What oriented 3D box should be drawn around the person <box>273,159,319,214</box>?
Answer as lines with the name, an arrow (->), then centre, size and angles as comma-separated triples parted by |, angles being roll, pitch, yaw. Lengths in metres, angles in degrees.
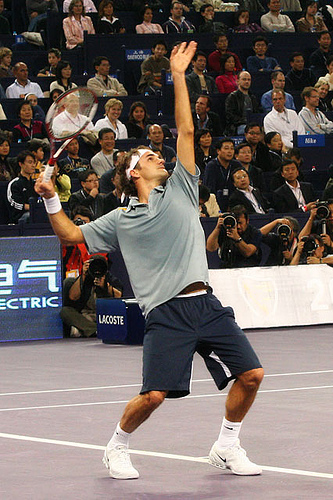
person -> 2.594, -1.187, 11.466 | 0.922, 1.282, 0.986 | -7, 13, 17

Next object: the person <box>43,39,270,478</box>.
person -> -0.056, 0.010, 2.632 | 0.936, 1.922, 0.456 | -2, -1, 5

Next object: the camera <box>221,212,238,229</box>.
camera -> 1.015, -0.478, 9.089 | 0.231, 0.263, 0.283 | 0, 0, 5

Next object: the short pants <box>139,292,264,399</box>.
short pants -> 0.145, 0.430, 2.557 | 0.549, 0.449, 0.288 | -2, -1, -3

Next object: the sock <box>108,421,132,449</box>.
sock -> -0.228, 0.853, 2.561 | 0.083, 0.108, 0.087 | -2, -1, -25

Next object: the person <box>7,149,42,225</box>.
person -> -2.719, -1.165, 10.380 | 0.543, 1.212, 0.668 | -2, -1, -11

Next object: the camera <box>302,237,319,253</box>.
camera -> 2.478, -0.093, 9.679 | 0.229, 0.265, 0.383 | -2, -1, 20

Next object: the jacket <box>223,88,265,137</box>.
jacket -> 2.061, -3.630, 14.432 | 1.169, 1.109, 1.102 | -8, 19, -7

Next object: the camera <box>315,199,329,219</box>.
camera -> 2.685, -0.718, 9.715 | 0.221, 0.287, 0.307 | 1, 3, 7

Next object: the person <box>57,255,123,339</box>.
person -> -1.264, 0.720, 8.947 | 1.065, 1.233, 0.810 | 1, 5, -39

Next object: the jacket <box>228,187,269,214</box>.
jacket -> 1.553, -0.959, 10.863 | 0.682, 0.587, 0.364 | -11, -17, -42

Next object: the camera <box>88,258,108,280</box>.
camera -> -1.051, 0.276, 8.392 | 0.252, 0.282, 0.224 | 6, 6, -3

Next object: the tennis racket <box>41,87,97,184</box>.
tennis racket -> -0.534, -0.584, 2.795 | 0.206, 0.631, 0.057 | 16, -30, 15

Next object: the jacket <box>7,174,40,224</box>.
jacket -> -2.739, -0.969, 10.442 | 0.509, 0.801, 0.499 | -2, -1, -11

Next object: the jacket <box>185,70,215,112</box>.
jacket -> 0.927, -4.314, 14.967 | 0.858, 0.919, 0.572 | -5, 8, -23

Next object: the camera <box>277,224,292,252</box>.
camera -> 2.080, -0.214, 9.899 | 0.220, 0.481, 0.482 | -2, -1, 11

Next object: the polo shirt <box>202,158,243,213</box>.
polo shirt -> 1.216, -1.252, 11.424 | 1.006, 1.191, 0.722 | 0, 6, 20

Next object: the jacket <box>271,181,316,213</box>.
jacket -> 2.563, -1.062, 11.309 | 0.869, 0.706, 0.443 | -8, 6, -16

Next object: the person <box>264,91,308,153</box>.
person -> 2.888, -3.128, 13.810 | 0.886, 1.567, 1.501 | -3, -1, 35

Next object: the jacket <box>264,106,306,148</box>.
jacket -> 2.985, -3.050, 13.934 | 1.034, 1.042, 0.791 | -13, 16, -14

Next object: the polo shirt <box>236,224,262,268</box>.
polo shirt -> 1.471, -0.076, 9.827 | 0.583, 0.730, 0.273 | -2, -1, -24

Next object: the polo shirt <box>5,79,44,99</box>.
polo shirt -> -3.734, -4.176, 14.551 | 0.970, 0.461, 0.518 | -1, -1, -14

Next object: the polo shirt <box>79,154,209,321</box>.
polo shirt -> -0.094, -0.058, 2.707 | 0.559, 0.707, 0.281 | -3, -1, 31

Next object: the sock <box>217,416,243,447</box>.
sock -> 0.294, 0.878, 2.655 | 0.107, 0.147, 0.112 | 2, -29, 6

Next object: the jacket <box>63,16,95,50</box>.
jacket -> -2.723, -6.651, 17.082 | 0.934, 0.925, 0.296 | -2, -1, -8

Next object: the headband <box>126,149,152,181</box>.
headband -> -0.151, -0.423, 2.771 | 0.116, 0.137, 0.036 | 19, -5, -13

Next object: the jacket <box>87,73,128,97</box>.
jacket -> -1.539, -4.295, 14.603 | 0.984, 0.598, 0.832 | -1, -1, -24
